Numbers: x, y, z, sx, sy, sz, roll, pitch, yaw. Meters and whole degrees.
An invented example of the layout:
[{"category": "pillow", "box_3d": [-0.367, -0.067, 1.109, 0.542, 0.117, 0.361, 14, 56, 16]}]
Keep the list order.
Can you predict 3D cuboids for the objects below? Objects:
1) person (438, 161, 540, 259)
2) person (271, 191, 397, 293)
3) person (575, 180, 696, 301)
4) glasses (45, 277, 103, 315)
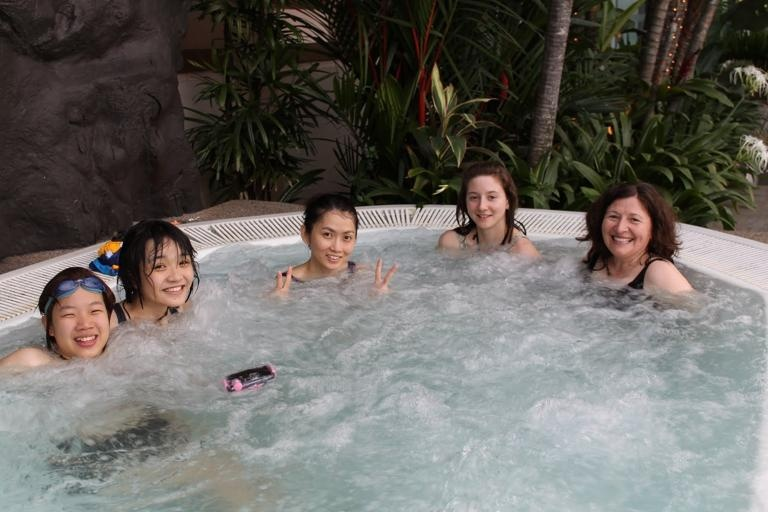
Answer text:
[{"category": "person", "box_3d": [0.772, -0.327, 3.854, 0.799, 0.623, 0.443, 7, 19, 30]}, {"category": "person", "box_3d": [-0.336, -0.058, 3.669, 1.069, 0.712, 0.620, -1, 26, -12]}, {"category": "person", "box_3d": [1.541, -0.134, 3.309, 0.474, 0.582, 0.776, -4, 13, -40]}, {"category": "glasses", "box_3d": [-1.478, 0.181, 2.533, 0.283, 0.154, 0.096, -19, 31, -25]}]
